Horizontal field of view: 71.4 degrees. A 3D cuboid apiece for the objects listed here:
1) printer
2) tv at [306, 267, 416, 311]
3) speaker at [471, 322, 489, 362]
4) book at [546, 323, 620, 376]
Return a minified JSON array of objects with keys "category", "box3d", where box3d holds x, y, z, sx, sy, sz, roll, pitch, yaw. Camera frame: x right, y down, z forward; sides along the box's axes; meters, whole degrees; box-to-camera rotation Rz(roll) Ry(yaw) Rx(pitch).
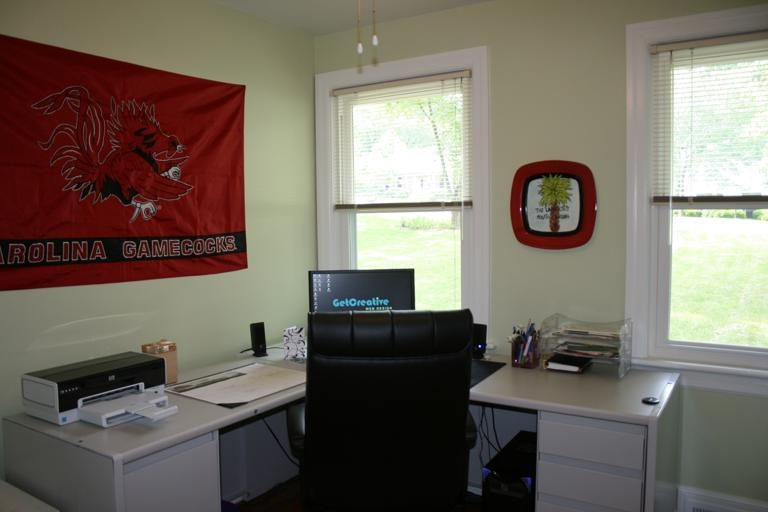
[{"category":"printer","box3d":[-1.432,0.665,2.673,0.524,0.188,0.412,3,5,34]},{"category":"tv","box3d":[-0.143,0.221,3.445,0.677,0.262,0.119,-2,5,-1]},{"category":"speaker","box3d":[0.618,0.558,3.617,0.170,0.241,0.123,2,3,8]},{"category":"book","box3d":[1.247,0.522,3.233,0.376,0.272,0.309,-1,-2,31]}]
